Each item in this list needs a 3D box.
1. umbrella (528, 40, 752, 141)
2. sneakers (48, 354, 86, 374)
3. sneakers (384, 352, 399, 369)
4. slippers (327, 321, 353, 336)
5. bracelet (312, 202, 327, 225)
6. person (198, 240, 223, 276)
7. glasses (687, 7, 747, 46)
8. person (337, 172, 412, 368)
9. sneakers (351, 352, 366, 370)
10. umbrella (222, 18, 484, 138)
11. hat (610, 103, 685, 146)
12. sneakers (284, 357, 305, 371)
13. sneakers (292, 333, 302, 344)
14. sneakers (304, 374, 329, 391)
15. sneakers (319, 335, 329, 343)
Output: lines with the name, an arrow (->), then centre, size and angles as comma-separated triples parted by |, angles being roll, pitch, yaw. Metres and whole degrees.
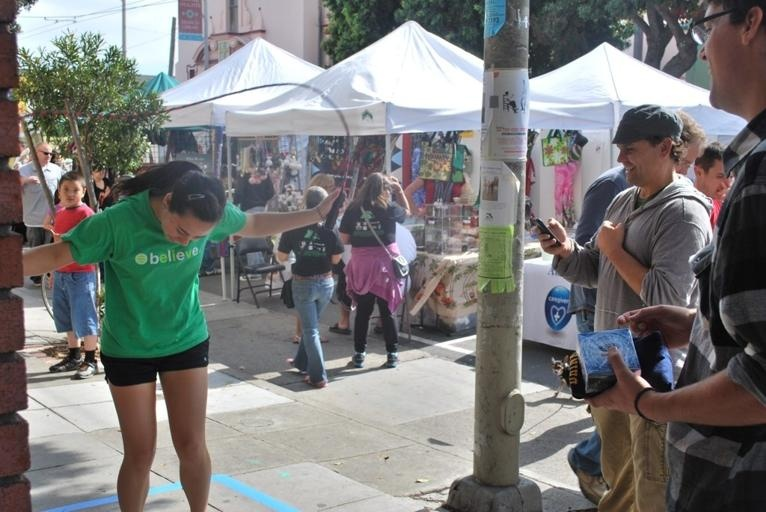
umbrella -> 3.306, -2.268, 10.022 | 2.751, 1.217, 2.843 | 3, 8, -20
sneakers -> -3.436, 1.209, 7.977 | 0.451, 0.211, 0.167 | 1, 3, -21
sneakers -> 0.116, 1.227, 8.363 | 0.175, 0.179, 0.489 | 0, -1, 5
slippers -> -0.558, 1.014, 9.806 | 0.247, 0.100, 0.127 | 3, -2, 26
bracelet -> -0.391, -0.272, 4.539 | 0.126, 0.146, 0.142 | -1, 9, -12
person -> -3.356, 0.012, 14.368 | 0.419, 0.759, 0.725 | -8, -2, -13
glasses -> 1.299, -0.876, 2.756 | 0.156, 0.049, 0.151 | -12, 13, 20
person -> -0.088, 0.149, 8.415 | 0.799, 2.237, 0.588 | 1, 8, -2
sneakers -> -0.275, 1.200, 8.360 | 0.176, 0.173, 0.201 | 0, 8, -8
umbrella -> 0.197, -2.189, 9.475 | 2.747, 1.037, 2.571 | 9, 17, 41
hat -> 1.583, -0.806, 4.260 | 0.330, 0.168, 0.248 | 6, 20, 25
sneakers -> -0.973, 1.233, 8.105 | 0.066, 0.087, 0.217 | -15, 40, -41
sneakers -> -1.083, 1.068, 9.284 | 0.079, 0.088, 0.217 | 1, 4, -14
sneakers -> -0.750, 1.351, 7.726 | 0.111, 0.095, 0.301 | -1, 10, -42
sneakers -> -0.757, 1.103, 9.377 | 0.123, 0.050, 0.049 | -2, 6, -4
